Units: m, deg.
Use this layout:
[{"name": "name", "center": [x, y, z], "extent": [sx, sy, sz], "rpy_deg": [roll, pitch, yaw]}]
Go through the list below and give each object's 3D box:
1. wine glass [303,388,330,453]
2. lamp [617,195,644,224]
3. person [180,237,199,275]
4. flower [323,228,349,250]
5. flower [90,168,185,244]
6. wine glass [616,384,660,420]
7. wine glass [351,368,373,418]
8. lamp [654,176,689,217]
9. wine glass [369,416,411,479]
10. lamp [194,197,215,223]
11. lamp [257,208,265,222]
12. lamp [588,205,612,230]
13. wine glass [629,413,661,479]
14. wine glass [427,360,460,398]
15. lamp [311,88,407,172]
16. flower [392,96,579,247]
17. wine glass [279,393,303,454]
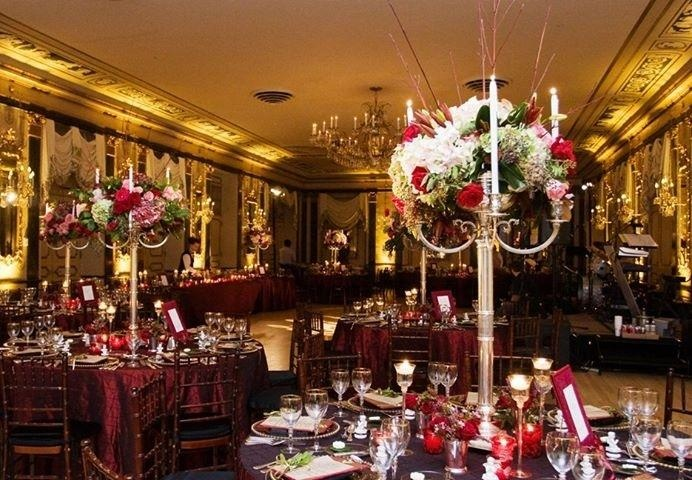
[{"name": "wine glass", "center": [-0.182, 1.062, 3.423], "extent": [0.124, 0.344, 0.293], "rpy_deg": [0, -9, -5]}, {"name": "lamp", "center": [6.585, -0.707, 13.355], "extent": [0.209, 0.909, 1.571], "rpy_deg": [-3, -10, 14]}, {"name": "person", "center": [-3.342, 0.326, 12.168], "extent": [0.326, 0.994, 0.408], "rpy_deg": [2, 26, -7]}, {"name": "flower", "center": [-0.237, 0.010, 17.484], "extent": [0.639, 0.684, 0.369], "rpy_deg": [11, 7, 16]}, {"name": "flower", "center": [-1.906, -0.240, 5.426], "extent": [0.690, 0.616, 0.716], "rpy_deg": [1, -3, 10]}, {"name": "wine glass", "center": [1.709, 0.943, 3.411], "extent": [0.204, 0.247, 0.224], "rpy_deg": [1, -12, -1]}, {"name": "wine glass", "center": [0.083, 0.975, 3.720], "extent": [0.115, 0.286, 0.241], "rpy_deg": [1, -9, -11]}, {"name": "lamp", "center": [6.016, -0.802, 10.762], "extent": [0.564, 0.815, 0.581], "rpy_deg": [3, -6, -1]}, {"name": "wine glass", "center": [0.225, 1.088, 3.000], "extent": [0.202, 0.317, 0.343], "rpy_deg": [-2, -9, 3]}, {"name": "lamp", "center": [-3.489, -0.774, 14.056], "extent": [0.216, 0.745, 0.689], "rpy_deg": [-2, -9, 8]}, {"name": "lamp", "center": [-2.535, -0.734, 16.976], "extent": [0.284, 0.430, 0.316], "rpy_deg": [1, 8, -4]}, {"name": "lamp", "center": [7.048, -0.617, 15.937], "extent": [0.603, 0.883, 0.628], "rpy_deg": [0, -1, 23]}, {"name": "wine glass", "center": [1.655, 1.103, 3.146], "extent": [0.143, 0.300, 0.309], "rpy_deg": [-6, -10, 27]}, {"name": "wine glass", "center": [0.619, 0.905, 3.703], "extent": [0.173, 0.225, 0.292], "rpy_deg": [-2, -9, 8]}, {"name": "lamp", "center": [0.338, -1.898, 11.474], "extent": [1.918, 1.404, 1.998], "rpy_deg": [2, 2, 19]}, {"name": "flower", "center": [0.796, -0.403, 3.486], "extent": [0.932, 0.825, 0.893], "rpy_deg": [0, 3, 3]}, {"name": "wine glass", "center": [-0.329, 1.074, 3.386], "extent": [0.119, 0.322, 0.227], "rpy_deg": [0, -9, -5]}]
